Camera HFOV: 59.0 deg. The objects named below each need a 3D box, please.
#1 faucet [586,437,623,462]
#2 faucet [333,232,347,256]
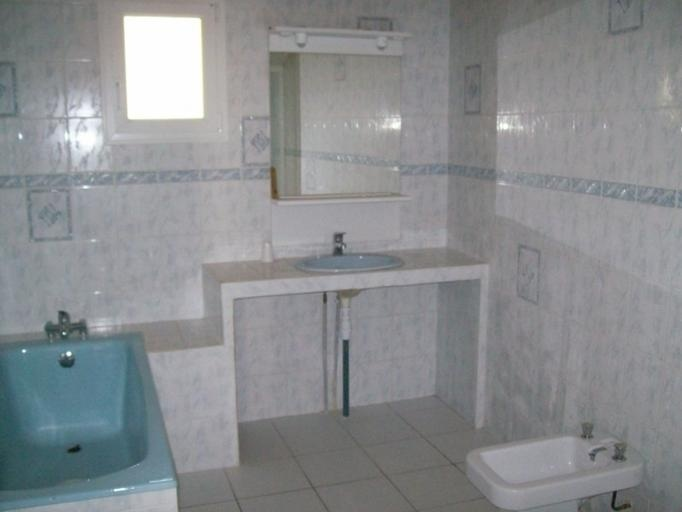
[{"bbox_3d":[1.196,0.867,2.719,0.200,0.076,0.073,-14,13,-13],"label":"faucet"},{"bbox_3d":[-0.009,-0.086,3.927,0.085,0.148,0.110,3,15,10],"label":"faucet"}]
